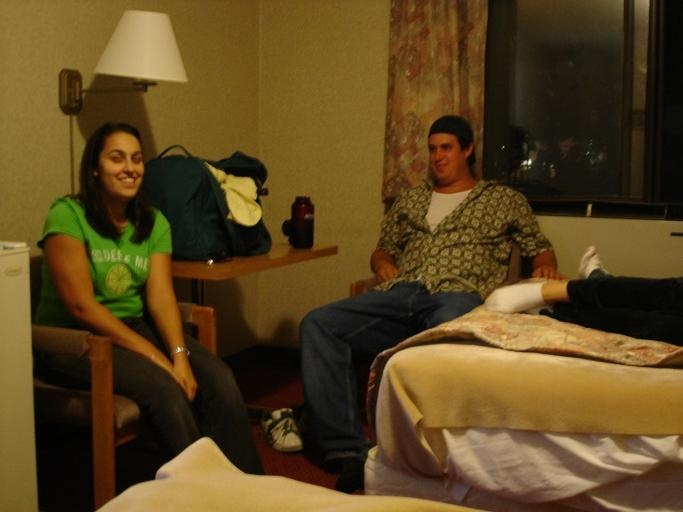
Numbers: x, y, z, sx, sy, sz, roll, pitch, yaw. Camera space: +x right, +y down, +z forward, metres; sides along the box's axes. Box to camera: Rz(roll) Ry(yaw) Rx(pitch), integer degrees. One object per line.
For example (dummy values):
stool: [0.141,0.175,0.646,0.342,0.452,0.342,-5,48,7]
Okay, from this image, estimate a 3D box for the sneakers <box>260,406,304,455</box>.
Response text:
sneakers: [-0.257,0.767,2.635,0.109,0.099,0.218,-1,4,-25]

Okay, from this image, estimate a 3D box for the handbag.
handbag: [-0.571,-0.213,2.712,0.467,0.482,0.593,-1,2,11]

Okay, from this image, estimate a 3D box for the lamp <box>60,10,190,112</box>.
lamp: [-0.915,-0.805,2.578,0.505,0.445,0.364,5,8,22]

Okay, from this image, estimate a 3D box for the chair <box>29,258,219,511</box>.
chair: [-0.853,0.353,2.427,0.706,1.020,0.819,1,2,27]

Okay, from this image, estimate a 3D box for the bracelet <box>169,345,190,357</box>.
bracelet: [-0.585,0.356,2.180,0.053,0.035,0.056,10,-22,-13]
